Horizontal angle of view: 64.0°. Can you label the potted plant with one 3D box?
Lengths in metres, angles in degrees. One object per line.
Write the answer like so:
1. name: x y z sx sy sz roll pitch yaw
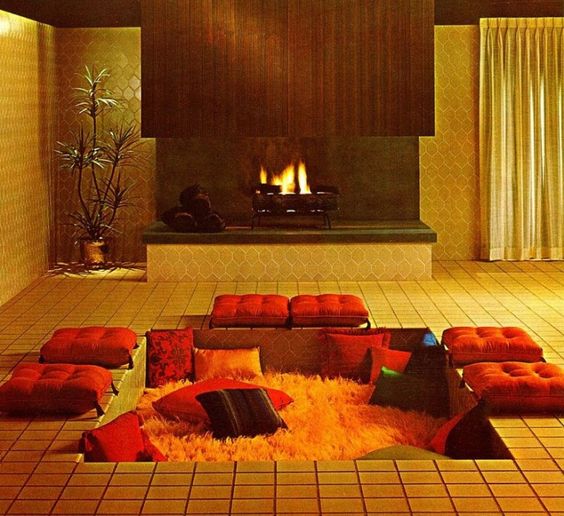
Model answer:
1. potted plant: -2.460 -1.255 6.053 1.441 2.685 0.545 -3 6 -3
